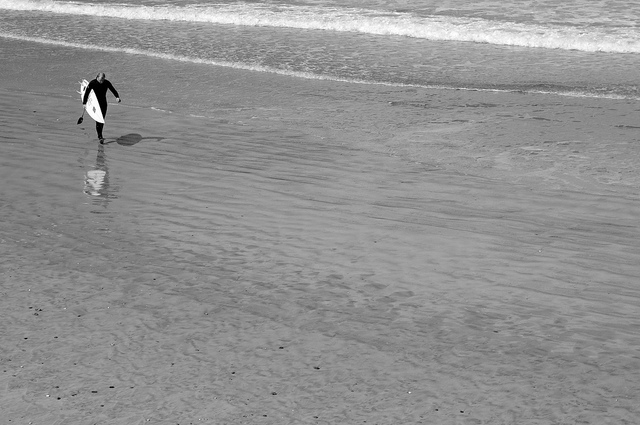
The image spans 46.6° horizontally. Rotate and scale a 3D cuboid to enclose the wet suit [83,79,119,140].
[{"bbox_3d":[-6.241,-2.948,21.062,0.931,1.653,1.252,1,26,-14],"label":"wet suit"}]
